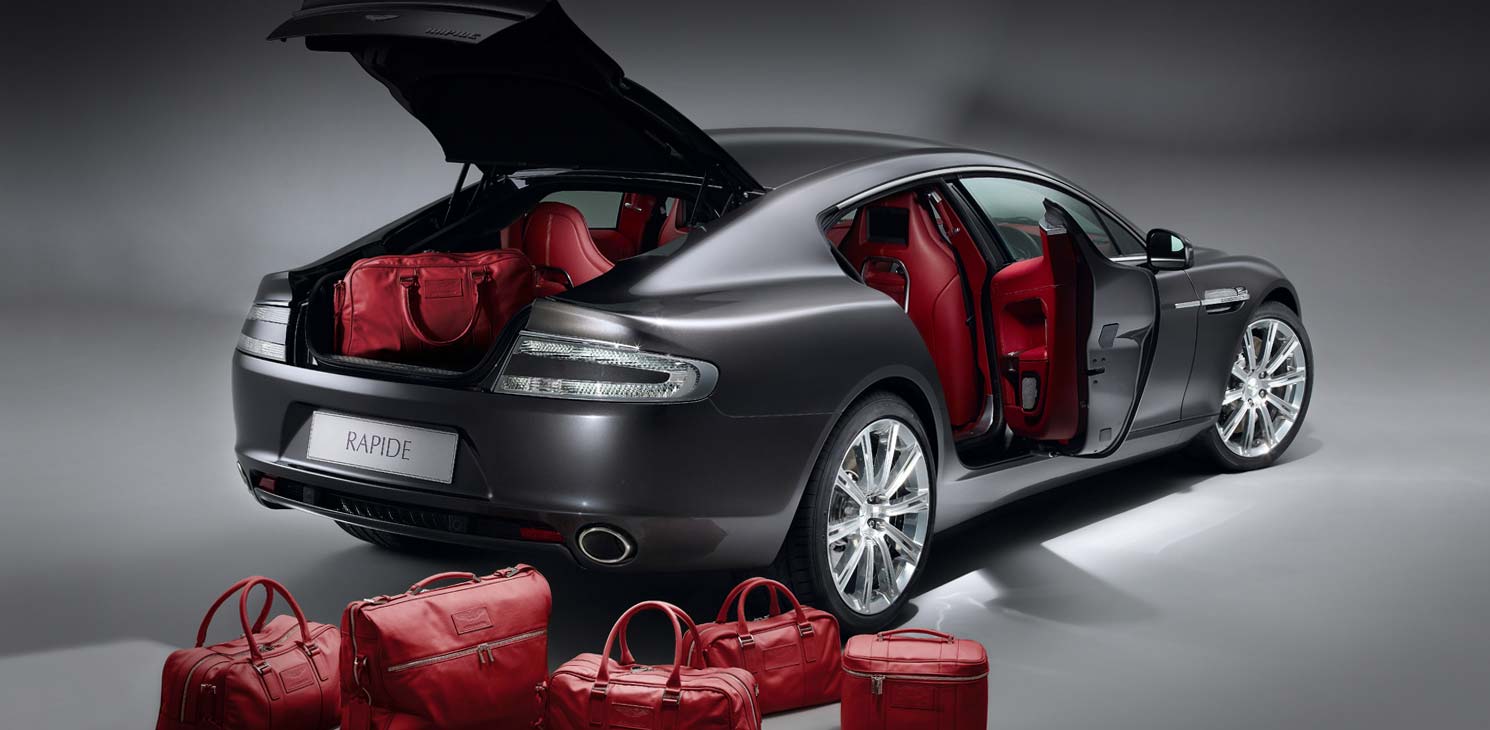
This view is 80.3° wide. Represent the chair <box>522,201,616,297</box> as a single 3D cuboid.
[{"bbox_3d":[-1.013,-0.593,4.835,0.358,0.412,0.406,4,-7,17],"label":"chair"}]

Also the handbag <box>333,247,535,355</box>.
[{"bbox_3d":[-1.509,-0.273,4.465,1.110,0.478,0.454,-3,14,-2],"label":"handbag"}]
